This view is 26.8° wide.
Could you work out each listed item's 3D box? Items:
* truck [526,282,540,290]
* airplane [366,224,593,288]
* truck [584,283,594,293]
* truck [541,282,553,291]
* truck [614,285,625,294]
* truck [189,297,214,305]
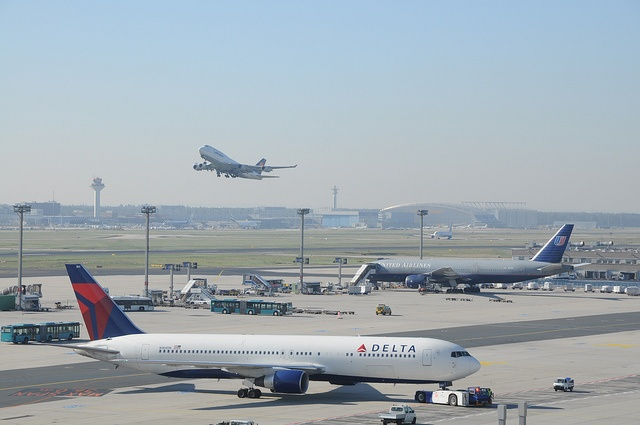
[{"bbox_3d":[34.330,12.021,216.818,1.252,0.870,1.599,0,-2,-23],"label":"truck"},{"bbox_3d":[22.110,7.241,209.418,34.764,8.100,25.953,-1,9,19],"label":"airplane"},{"bbox_3d":[42.852,12.145,213.552,1.496,0.948,1.999,-1,-3,1],"label":"truck"},{"bbox_3d":[36.505,11.986,216.245,2.201,1.623,1.167,0,-4,9],"label":"truck"},{"bbox_3d":[46.916,12.249,210.077,1.480,0.992,2.254,0,2,-10],"label":"truck"},{"bbox_3d":[-16.997,12.667,188.761,2.995,0.726,1.507,2,-2,3],"label":"truck"}]
